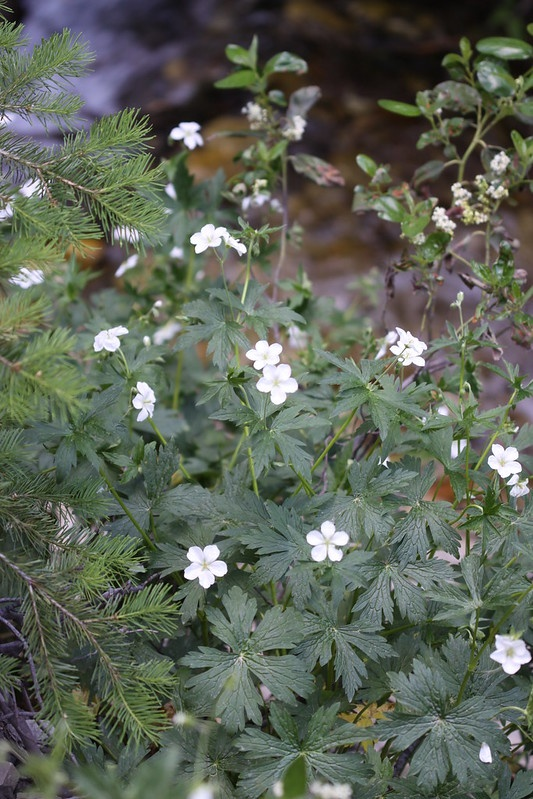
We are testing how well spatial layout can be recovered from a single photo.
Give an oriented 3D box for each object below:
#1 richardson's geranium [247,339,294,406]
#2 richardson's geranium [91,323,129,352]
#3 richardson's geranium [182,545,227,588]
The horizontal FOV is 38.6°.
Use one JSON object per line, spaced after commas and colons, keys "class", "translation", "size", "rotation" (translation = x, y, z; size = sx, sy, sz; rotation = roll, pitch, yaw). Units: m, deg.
{"class": "richardson's geranium", "translation": [0.006, -0.055, 1.437], "size": [0.086, 0.033, 0.120], "rotation": [-22, 64, -5]}
{"class": "richardson's geranium", "translation": [-0.313, -0.128, 1.554], "size": [0.078, 0.028, 0.076], "rotation": [9, 31, 24]}
{"class": "richardson's geranium", "translation": [-0.110, 0.291, 1.343], "size": [0.068, 0.050, 0.059], "rotation": [23, 44, 24]}
